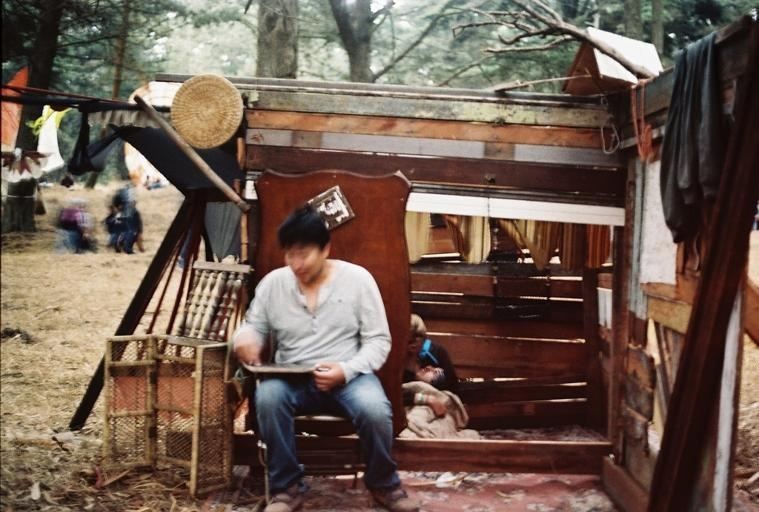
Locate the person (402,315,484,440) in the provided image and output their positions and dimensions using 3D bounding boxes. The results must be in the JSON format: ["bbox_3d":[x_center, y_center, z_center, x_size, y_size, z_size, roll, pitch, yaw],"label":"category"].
[{"bbox_3d":[0.564,1.422,9.419,1.020,0.496,1.369,4,6,-3],"label":"person"}]
